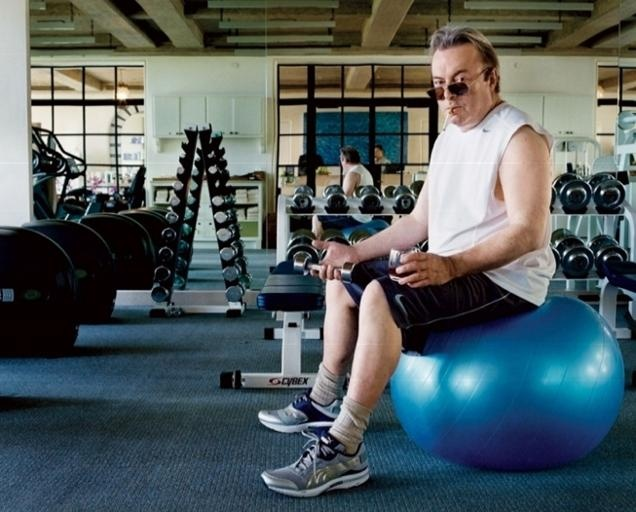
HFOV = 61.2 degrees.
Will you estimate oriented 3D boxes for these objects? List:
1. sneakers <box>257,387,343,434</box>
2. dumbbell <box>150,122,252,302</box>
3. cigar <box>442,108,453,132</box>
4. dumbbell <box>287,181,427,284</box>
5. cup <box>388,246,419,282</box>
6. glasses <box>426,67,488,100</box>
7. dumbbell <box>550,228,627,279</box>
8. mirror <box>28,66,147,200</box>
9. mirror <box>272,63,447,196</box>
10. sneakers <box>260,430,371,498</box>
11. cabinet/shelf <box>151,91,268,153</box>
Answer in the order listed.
[{"bbox_3d":[-0.045,0.410,1.438,0.234,0.106,0.084,0,3,7],"label":"sneakers"},{"bbox_3d":[-0.646,-0.254,3.092,0.370,0.923,0.624,2,7,-5],"label":"dumbbell"},{"bbox_3d":[0.249,-0.262,1.039,0.016,0.032,0.033,2,7,13],"label":"cigar"},{"bbox_3d":[0.124,-0.072,1.247,0.320,0.208,0.178,-1,9,-16],"label":"dumbbell"},{"bbox_3d":[0.166,0.020,1.050,0.055,0.066,0.066,1,6,6],"label":"cup"},{"bbox_3d":[0.266,-0.323,1.004,0.117,0.063,0.035,2,6,9],"label":"glasses"},{"bbox_3d":[1.384,-0.015,2.796,0.344,0.137,0.329,-1,17,3],"label":"dumbbell"},{"bbox_3d":[-0.829,-0.437,1.939,0.351,0.488,0.103,3,6,-9],"label":"mirror"},{"bbox_3d":[0.092,-0.276,1.120,0.289,0.263,0.029,3,7,0],"label":"mirror"},{"bbox_3d":[0.004,0.462,1.220,0.266,0.128,0.101,-1,-5,-9],"label":"sneakers"},{"bbox_3d":[-0.510,-0.631,2.498,0.517,0.261,0.155,-1,-2,3],"label":"cabinet/shelf"}]
